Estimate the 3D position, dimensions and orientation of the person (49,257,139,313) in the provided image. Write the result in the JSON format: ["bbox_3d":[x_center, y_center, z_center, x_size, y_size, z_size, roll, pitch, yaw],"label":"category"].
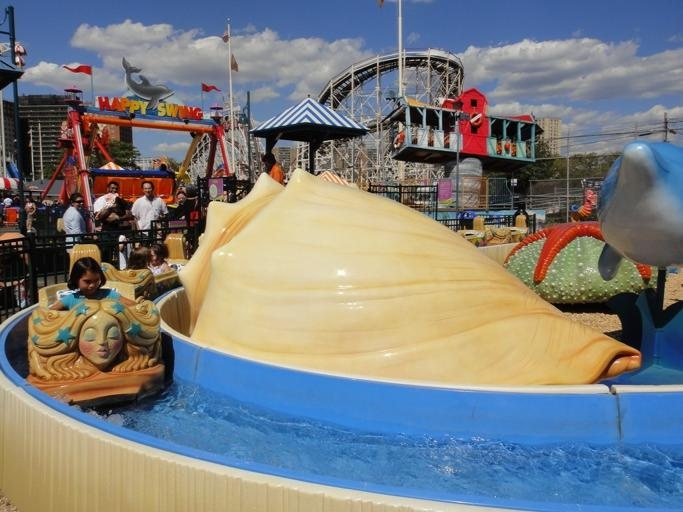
[{"bbox_3d":[-2.026,0.228,5.542,0.843,0.529,0.364,-5,9,-31],"label":"person"}]

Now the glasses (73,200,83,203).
[{"bbox_3d":[-3.652,-0.803,9.507,0.065,0.024,0.056,-1,2,27],"label":"glasses"}]
